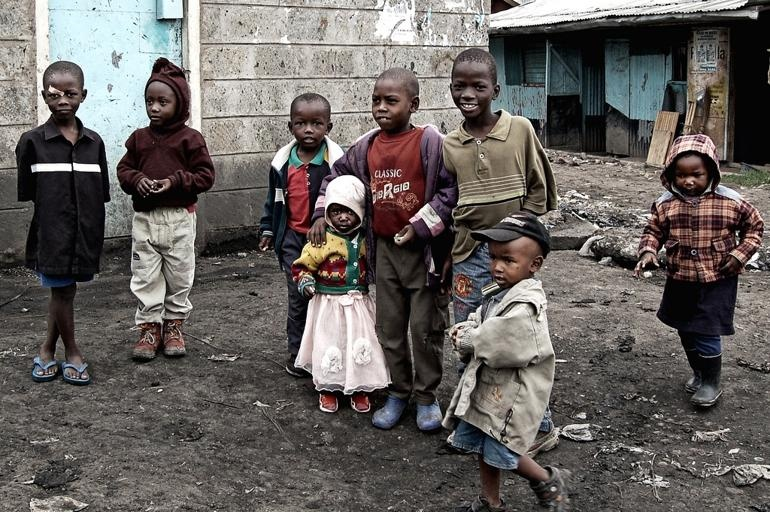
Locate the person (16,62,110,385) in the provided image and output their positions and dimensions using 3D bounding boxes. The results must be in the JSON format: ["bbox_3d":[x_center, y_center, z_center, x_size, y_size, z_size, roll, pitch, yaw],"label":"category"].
[{"bbox_3d":[-2.194,-0.055,4.427,0.574,1.855,0.452,-4,13,-23],"label":"person"}]

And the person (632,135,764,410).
[{"bbox_3d":[2.183,0.096,4.483,0.771,1.849,0.489,5,12,20],"label":"person"}]

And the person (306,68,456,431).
[{"bbox_3d":[0.107,-0.043,4.234,0.503,2.317,0.765,-9,15,-40],"label":"person"}]

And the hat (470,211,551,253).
[{"bbox_3d":[0.713,-0.146,3.434,0.442,0.199,0.279,12,0,-23],"label":"hat"}]

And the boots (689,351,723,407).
[{"bbox_3d":[2.253,0.876,4.498,0.171,0.337,0.366,3,11,42],"label":"boots"}]

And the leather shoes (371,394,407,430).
[{"bbox_3d":[0.023,1.053,4.256,0.117,0.120,0.293,5,0,16],"label":"leather shoes"}]

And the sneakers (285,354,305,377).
[{"bbox_3d":[-0.680,0.835,4.836,0.089,0.099,0.238,-2,2,-36],"label":"sneakers"}]

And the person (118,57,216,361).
[{"bbox_3d":[-1.632,-0.343,4.825,0.660,2.208,0.431,-4,12,-22],"label":"person"}]
